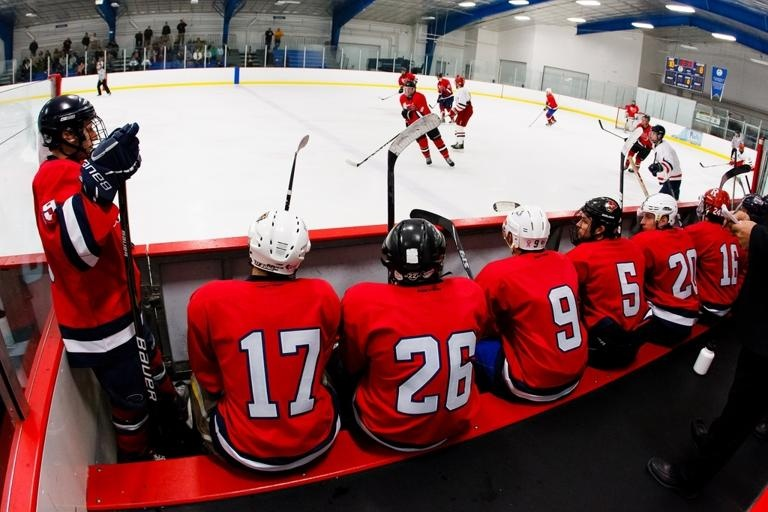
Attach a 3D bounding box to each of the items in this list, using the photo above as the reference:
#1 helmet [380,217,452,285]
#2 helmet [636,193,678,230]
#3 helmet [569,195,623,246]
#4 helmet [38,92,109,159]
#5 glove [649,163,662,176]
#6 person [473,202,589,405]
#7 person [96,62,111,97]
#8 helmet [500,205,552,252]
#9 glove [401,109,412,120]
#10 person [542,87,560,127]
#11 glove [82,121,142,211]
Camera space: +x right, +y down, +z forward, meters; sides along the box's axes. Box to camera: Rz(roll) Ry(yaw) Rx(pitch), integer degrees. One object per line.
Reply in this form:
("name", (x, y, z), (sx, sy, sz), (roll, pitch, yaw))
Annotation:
("helmet", (0.145, -0.026, 2.836), (0.333, 0.327, 0.407), (-3, 30, 4))
("helmet", (1.915, -0.321, 4.056), (0.276, 0.274, 0.216), (5, 12, 45))
("helmet", (1.321, -0.222, 3.560), (0.305, 0.316, 0.268), (15, 23, 35))
("helmet", (-1.545, -0.640, 2.807), (0.312, 0.309, 0.239), (-6, 29, -24))
("glove", (3.603, -1.165, 7.565), (0.136, 0.169, 0.242), (6, 18, 17))
("person", (0.802, 0.247, 3.385), (0.901, 1.061, 0.837), (1, 9, 30))
("person", (-6.767, -4.250, 13.694), (0.266, 0.779, 0.887), (-8, 19, -26))
("helmet", (0.801, -0.140, 3.193), (0.250, 0.289, 0.290), (-10, 15, -37))
("glove", (0.357, -2.306, 9.238), (0.165, 0.088, 0.226), (7, 62, 1))
("person", (4.092, -3.639, 14.000), (0.254, 0.858, 0.972), (5, 18, 14))
("glove", (-1.257, -0.422, 2.662), (0.121, 0.240, 0.398), (-18, 36, 58))
